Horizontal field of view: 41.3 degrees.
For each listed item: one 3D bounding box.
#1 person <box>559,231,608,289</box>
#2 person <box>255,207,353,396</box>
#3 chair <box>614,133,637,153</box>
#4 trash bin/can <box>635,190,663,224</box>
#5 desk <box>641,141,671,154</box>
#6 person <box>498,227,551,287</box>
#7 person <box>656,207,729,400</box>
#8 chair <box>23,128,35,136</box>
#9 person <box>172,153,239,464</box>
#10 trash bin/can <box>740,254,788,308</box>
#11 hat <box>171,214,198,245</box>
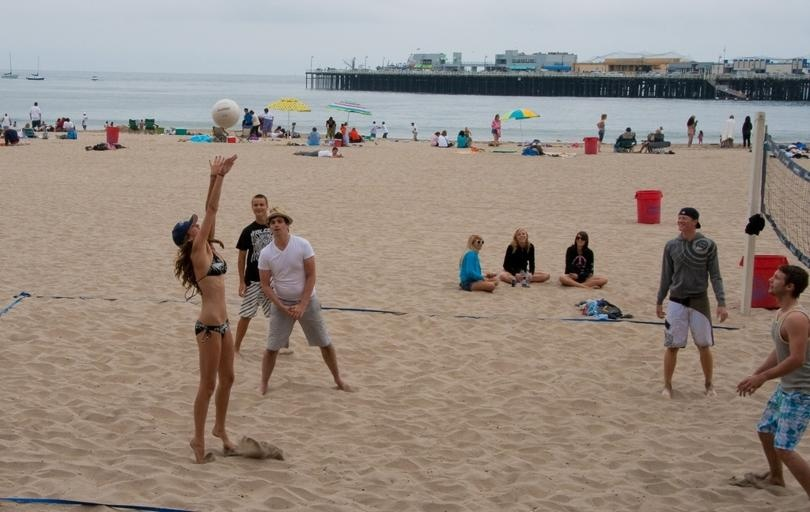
[{"bbox_3d":[3.164,0.084,19.666,0.823,1.021,0.911,-4,8,-31],"label":"person"},{"bbox_3d":[-1.575,0.705,15.862,1.143,2.738,0.544,-2,12,-7],"label":"person"},{"bbox_3d":[7.786,-3.986,37.970,0.673,0.654,0.865,1,12,5],"label":"chair"},{"bbox_3d":[5.429,-1.094,23.931,0.541,0.741,0.665,2,12,12],"label":"trash bin/can"},{"bbox_3d":[8.871,-3.811,38.083,0.779,0.345,1.000,-1,3,-2],"label":"desk"},{"bbox_3d":[2.105,-0.004,19.722,0.988,0.965,0.673,-2,7,-24],"label":"person"},{"bbox_3d":[4.292,0.705,16.113,0.976,2.778,0.678,3,13,13],"label":"person"},{"bbox_3d":[-14.294,-4.676,41.005,0.327,0.402,0.425,-1,-4,-26],"label":"chair"},{"bbox_3d":[-2.724,0.715,14.952,0.836,4.066,1.355,-2,12,-9],"label":"person"},{"bbox_3d":[5.811,0.430,17.427,0.869,0.998,0.793,1,8,6],"label":"trash bin/can"},{"bbox_3d":[-3.028,-0.374,14.763,0.254,0.452,0.317,35,6,-25],"label":"hat"}]
